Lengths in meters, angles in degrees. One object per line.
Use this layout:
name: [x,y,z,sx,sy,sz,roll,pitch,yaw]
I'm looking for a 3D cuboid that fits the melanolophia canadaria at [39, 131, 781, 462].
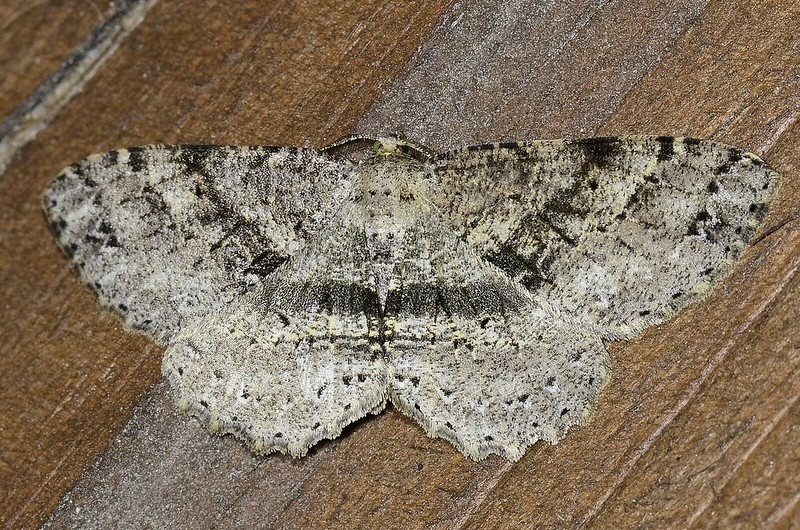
melanolophia canadaria: [0.010,0.133,6.041,3.604,0.516,1.607,-1,84,0]
